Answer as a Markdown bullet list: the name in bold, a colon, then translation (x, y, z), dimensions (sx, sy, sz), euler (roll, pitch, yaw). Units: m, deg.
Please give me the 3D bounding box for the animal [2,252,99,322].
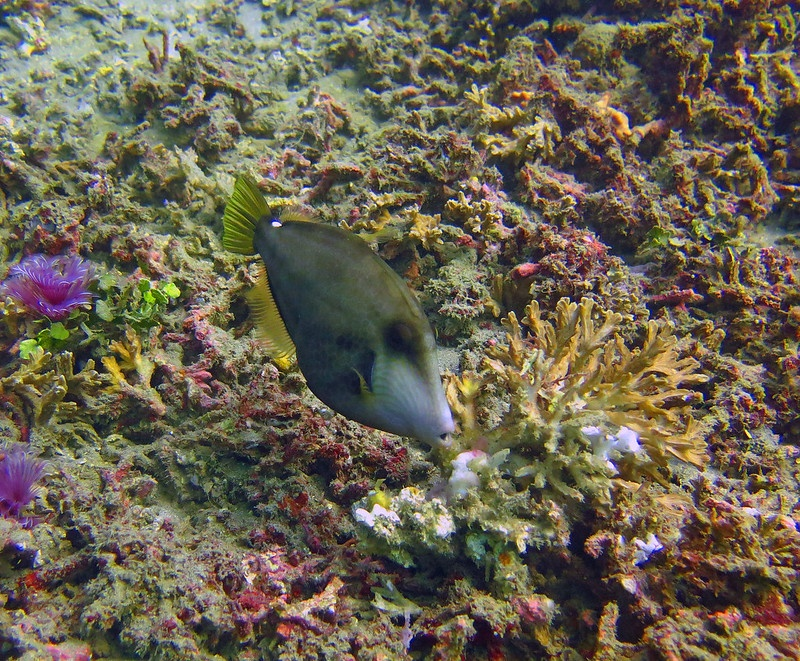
- **animal**: translation (-3.330, -0.424, 7.603), dimensions (0.601, 0.410, 0.716), euler (5, 71, -11)
